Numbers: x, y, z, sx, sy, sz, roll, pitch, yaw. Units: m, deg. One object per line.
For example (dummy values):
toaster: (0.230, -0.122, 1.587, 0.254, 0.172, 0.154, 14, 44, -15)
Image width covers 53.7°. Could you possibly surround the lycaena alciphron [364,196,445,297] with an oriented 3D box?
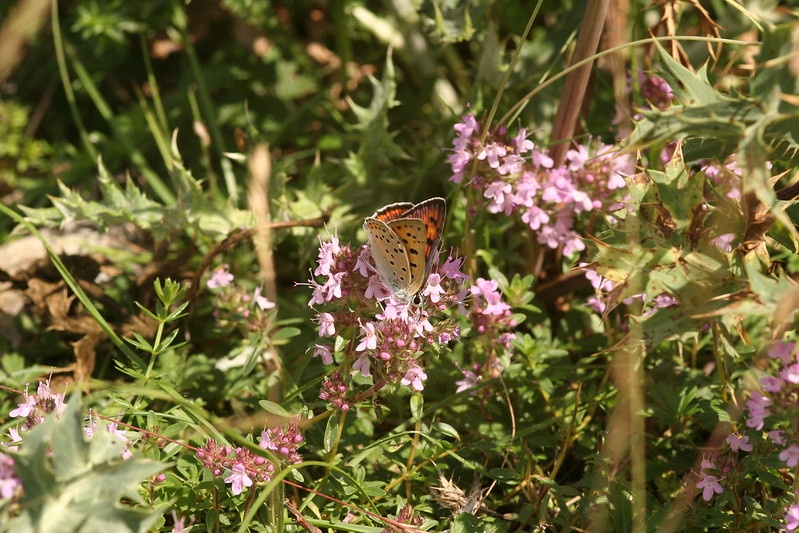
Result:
lycaena alciphron: (0.026, -0.077, 3.503, 0.262, 0.404, 0.407, -35, 8, -20)
